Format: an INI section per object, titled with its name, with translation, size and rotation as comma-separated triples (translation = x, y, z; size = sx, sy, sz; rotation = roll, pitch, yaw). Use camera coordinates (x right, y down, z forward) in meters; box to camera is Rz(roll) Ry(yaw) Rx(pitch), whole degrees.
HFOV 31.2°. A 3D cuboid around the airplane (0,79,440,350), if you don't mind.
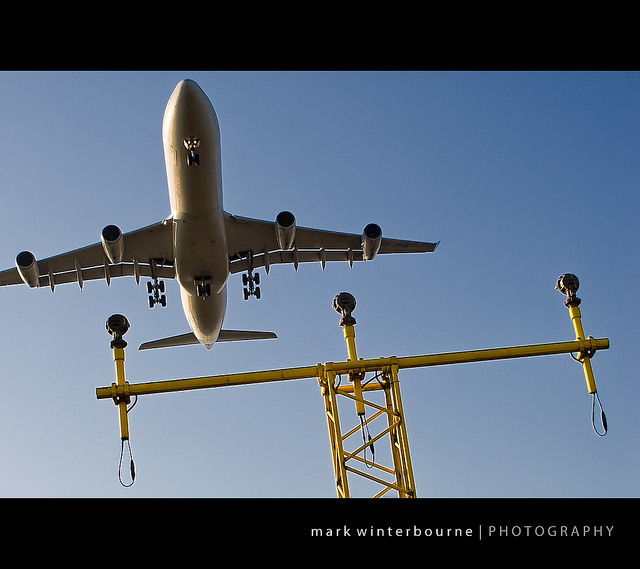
[airplane]
translation = -3.487, -3.574, 34.674
size = 9.731, 3.147, 8.320
rotation = -4, -52, -6
